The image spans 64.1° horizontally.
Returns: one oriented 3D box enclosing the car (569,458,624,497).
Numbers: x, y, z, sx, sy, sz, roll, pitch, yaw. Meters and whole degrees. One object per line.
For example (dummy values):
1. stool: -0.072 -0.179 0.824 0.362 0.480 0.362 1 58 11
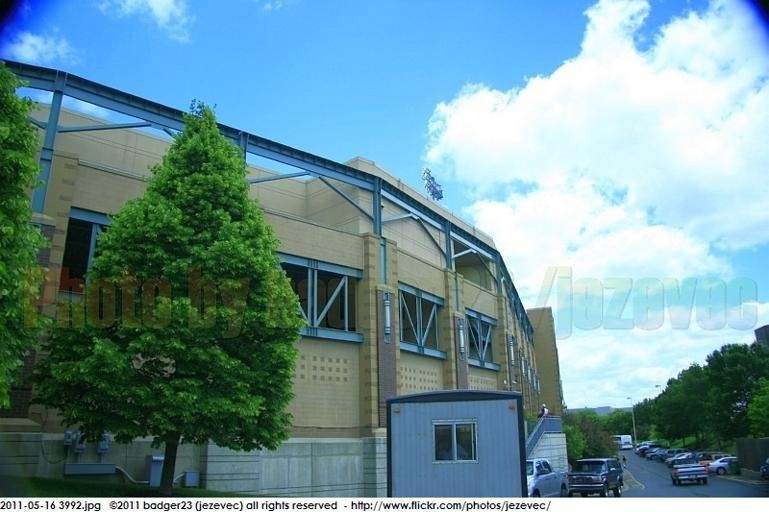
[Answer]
1. car: 12.815 13.624 37.509 2.285 1.839 4.010 -10 -25 28
